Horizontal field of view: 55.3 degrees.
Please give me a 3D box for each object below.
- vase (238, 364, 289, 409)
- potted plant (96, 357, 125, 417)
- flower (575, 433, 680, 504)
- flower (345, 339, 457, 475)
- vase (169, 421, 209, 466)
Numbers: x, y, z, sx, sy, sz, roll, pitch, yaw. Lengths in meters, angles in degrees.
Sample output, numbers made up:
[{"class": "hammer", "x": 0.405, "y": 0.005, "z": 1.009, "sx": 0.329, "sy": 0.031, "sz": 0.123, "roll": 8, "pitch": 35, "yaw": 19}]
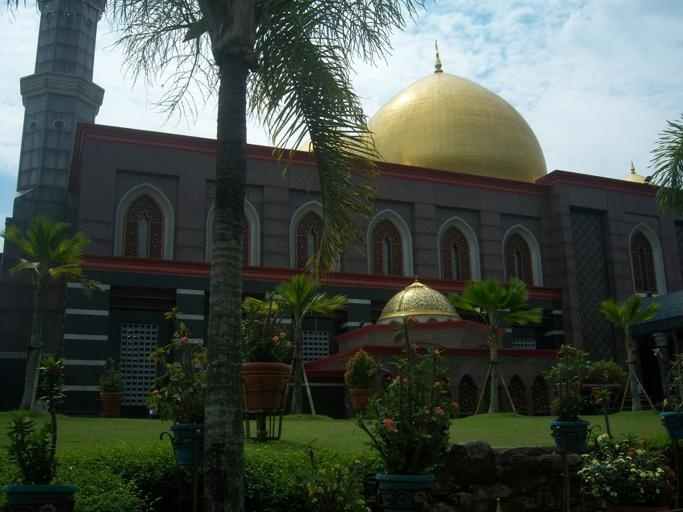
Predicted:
[{"class": "vase", "x": -1.491, "y": 2.447, "z": 12.512, "sx": 0.972, "sy": 0.787, "sz": 1.006, "roll": 0, "pitch": -20, "yaw": 1}, {"class": "potted plant", "x": -6.875, "y": 3.865, "z": 19.345, "sx": 0.644, "sy": 1.822, "sz": 1.819, "roll": 5, "pitch": -17, "yaw": -20}, {"class": "flower", "x": 4.220, "y": 3.163, "z": 9.921, "sx": 1.242, "sy": 0.926, "sz": 1.309, "roll": 1, "pitch": -19, "yaw": -5}, {"class": "flower", "x": 0.777, "y": 2.222, "z": 8.979, "sx": 0.884, "sy": 1.318, "sz": 0.940, "roll": -4, "pitch": 8, "yaw": 40}, {"class": "vase", "x": -2.095, "y": 2.591, "z": 8.993, "sx": 0.568, "sy": 0.545, "sz": 0.314, "roll": -10, "pitch": -18, "yaw": 29}]
